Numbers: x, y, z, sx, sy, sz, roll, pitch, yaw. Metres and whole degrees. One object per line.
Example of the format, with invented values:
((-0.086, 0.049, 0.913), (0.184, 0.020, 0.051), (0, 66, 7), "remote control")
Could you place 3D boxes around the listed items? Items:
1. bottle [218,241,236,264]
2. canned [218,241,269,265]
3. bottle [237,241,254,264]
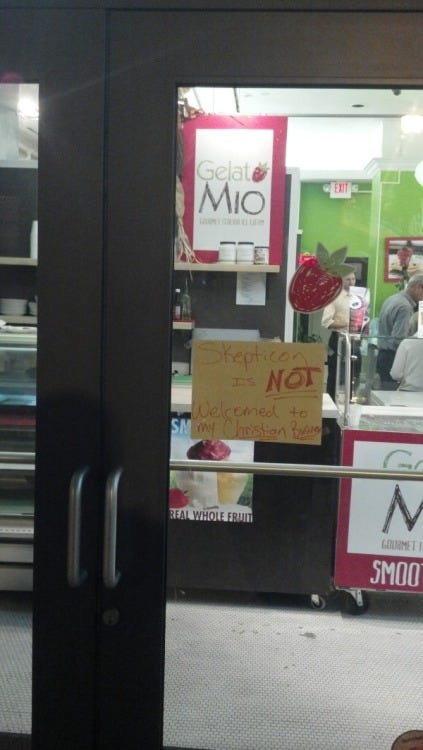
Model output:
((0.027, -0.213, 1.039), (0.031, 0.039, 0.034), (1, 3, 0), "bottle")
((0.055, -0.211, 1.033), (0.068, 0.046, 0.042), (3, 9, 5), "canned")
((0.059, -0.211, 1.031), (0.030, 0.038, 0.033), (1, 4, 0), "bottle")
